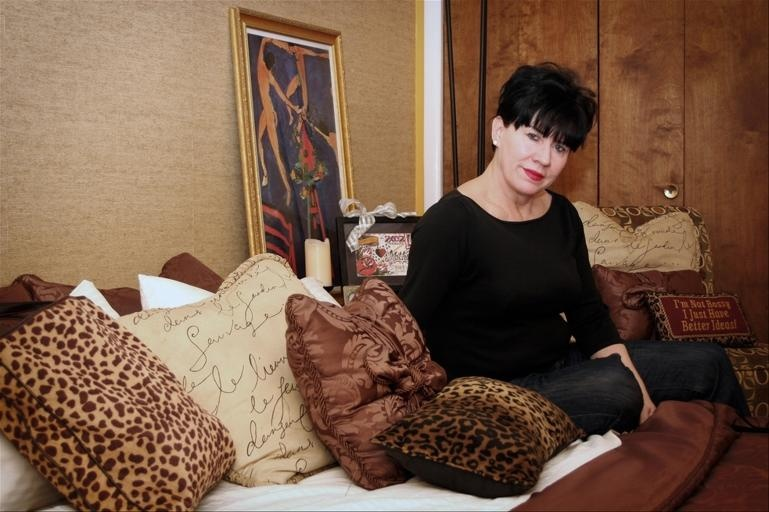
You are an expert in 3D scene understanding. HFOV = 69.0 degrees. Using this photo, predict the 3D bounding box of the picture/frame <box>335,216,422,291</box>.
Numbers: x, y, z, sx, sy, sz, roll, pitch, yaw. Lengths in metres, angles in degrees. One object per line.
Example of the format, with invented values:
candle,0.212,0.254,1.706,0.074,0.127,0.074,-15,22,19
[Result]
picture/frame,-0.053,-0.011,2.750,0.415,0.338,0.034,1,-7,-25

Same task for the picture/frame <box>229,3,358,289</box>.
picture/frame,-0.459,-0.565,2.909,0.213,1.309,0.749,4,10,35

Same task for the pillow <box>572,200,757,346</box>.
pillow,1.462,0.067,3.115,0.845,0.803,0.252,3,-18,-14
